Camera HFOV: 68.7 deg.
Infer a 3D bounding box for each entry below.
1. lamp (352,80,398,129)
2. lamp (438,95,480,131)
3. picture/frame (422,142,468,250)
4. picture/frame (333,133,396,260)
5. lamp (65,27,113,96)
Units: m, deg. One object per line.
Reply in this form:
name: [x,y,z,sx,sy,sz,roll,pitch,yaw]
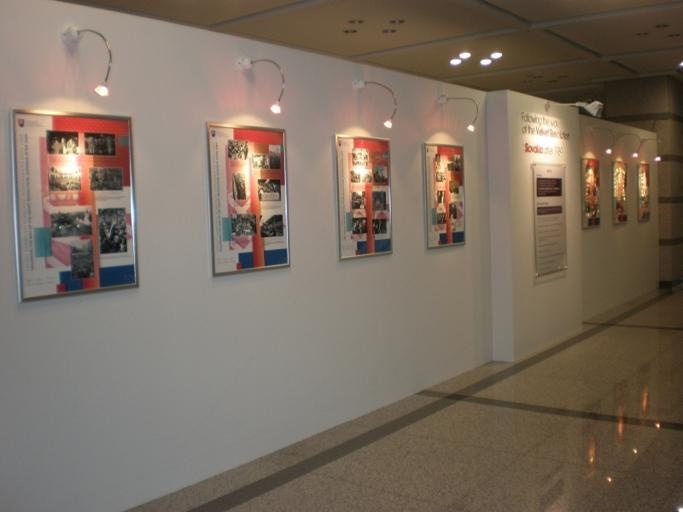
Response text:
lamp: [0.344,-1.512,5.034,0.090,0.459,0.681,3,9,40]
lamp: [1.457,-1.736,6.116,0.447,0.546,0.157,-4,-24,11]
picture/frame: [1.214,-0.673,5.839,0.020,1.132,0.757,-3,5,-23]
picture/frame: [0.227,-0.569,4.922,0.087,1.166,0.776,4,8,45]
lamp: [-1.617,-1.239,3.199,0.297,0.430,0.131,-6,7,-35]
